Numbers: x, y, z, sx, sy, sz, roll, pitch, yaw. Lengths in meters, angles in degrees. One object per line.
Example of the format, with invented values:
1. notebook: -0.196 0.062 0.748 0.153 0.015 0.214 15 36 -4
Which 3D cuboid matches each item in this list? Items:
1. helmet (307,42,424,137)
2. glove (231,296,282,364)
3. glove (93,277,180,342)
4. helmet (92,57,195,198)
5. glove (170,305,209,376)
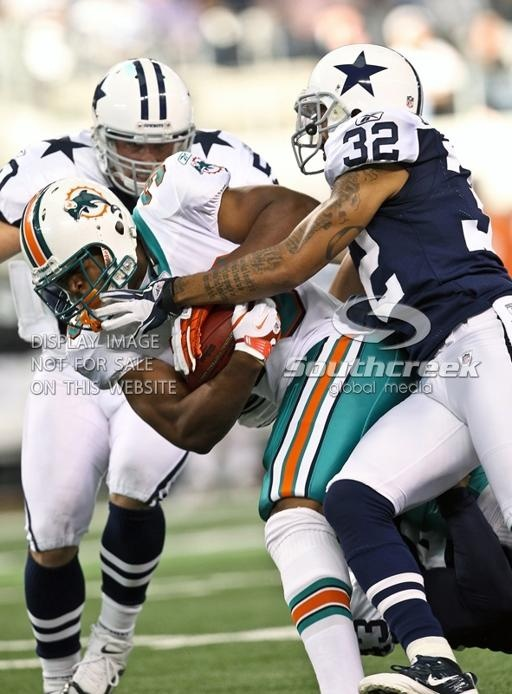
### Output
1. helmet: 0.244 -0.576 1.685 0.276 0.179 0.186 3 11 12
2. glove: -0.009 -0.029 1.493 0.107 0.114 0.058 31 -36 -28
3. glove: -0.233 -0.072 1.515 0.103 0.169 0.066 53 -4 14
4. helmet: -0.383 -0.674 2.321 0.363 0.372 0.428 -4 44 -12
5. glove: -0.133 -0.011 1.471 0.053 0.124 0.074 15 -26 -11
